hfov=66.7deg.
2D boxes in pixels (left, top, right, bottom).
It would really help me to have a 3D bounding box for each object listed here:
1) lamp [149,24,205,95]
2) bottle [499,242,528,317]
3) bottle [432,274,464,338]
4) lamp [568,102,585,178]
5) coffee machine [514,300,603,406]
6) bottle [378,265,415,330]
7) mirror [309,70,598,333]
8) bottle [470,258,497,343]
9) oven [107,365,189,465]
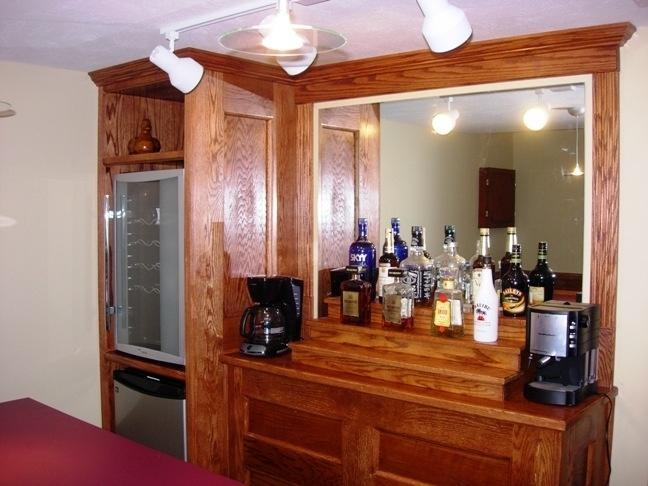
[{"bbox_3d":[-0.741,-0.910,2.506,0.220,0.268,0.375,4,-1,-10],"label":"lamp"},{"bbox_3d":[0.945,0.186,2.422,0.123,0.350,0.057,3,-2,21],"label":"bottle"},{"bbox_3d":[0.637,0.314,2.435,0.187,0.289,0.136,4,-2,-9],"label":"bottle"},{"bbox_3d":[1.213,-0.484,2.369,0.080,0.330,0.041,3,-2,27],"label":"lamp"},{"bbox_3d":[0.997,0.469,2.213,0.424,0.530,0.330,2,-3,-39],"label":"coffee machine"},{"bbox_3d":[0.397,0.293,2.615,0.173,0.215,0.208,4,-2,9],"label":"bottle"},{"bbox_3d":[0.723,-0.229,2.591,1.604,1.157,0.071,2,1,33],"label":"mirror"},{"bbox_3d":[0.778,0.282,2.352,0.121,0.385,0.142,4,-2,19],"label":"bottle"},{"bbox_3d":[-1.145,0.988,3.190,0.437,0.569,0.318,16,29,-11],"label":"oven"}]
